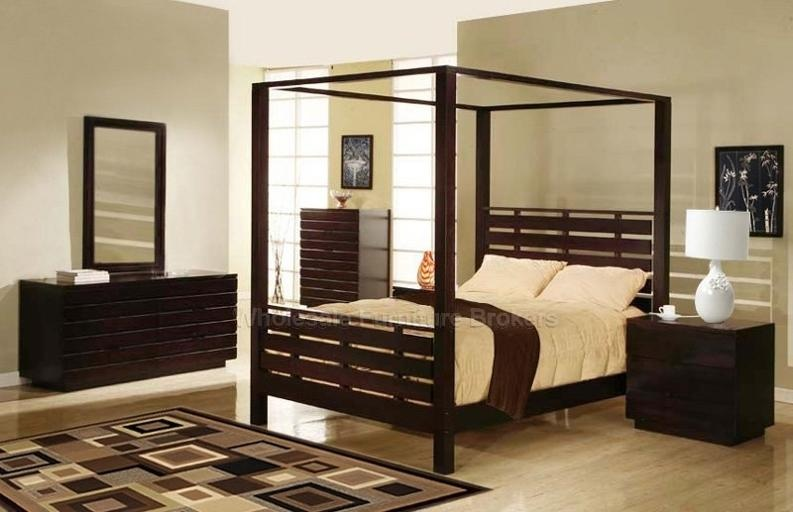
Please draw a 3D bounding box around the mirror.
[{"bbox_3d":[-2.768,-0.621,6.275,0.807,1.560,0.268,-1,7,-26],"label":"mirror"}]

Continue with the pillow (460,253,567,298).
[{"bbox_3d":[1.139,0.145,6.218,0.857,0.196,0.859,12,38,31],"label":"pillow"}]

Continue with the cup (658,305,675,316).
[{"bbox_3d":[2.210,0.445,5.062,0.159,0.097,0.113,-1,-1,24],"label":"cup"}]

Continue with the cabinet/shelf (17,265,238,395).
[{"bbox_3d":[-2.724,0.698,6.300,0.791,0.888,1.943,5,2,30],"label":"cabinet/shelf"}]

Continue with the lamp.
[{"bbox_3d":[2.480,0.084,4.807,0.436,0.885,0.281,4,6,23],"label":"lamp"}]

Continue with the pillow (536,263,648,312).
[{"bbox_3d":[1.730,0.270,5.847,0.899,0.256,1.010,6,19,28],"label":"pillow"}]

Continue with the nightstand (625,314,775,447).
[{"bbox_3d":[2.359,0.958,4.821,1.093,0.899,0.479,4,6,23],"label":"nightstand"}]
